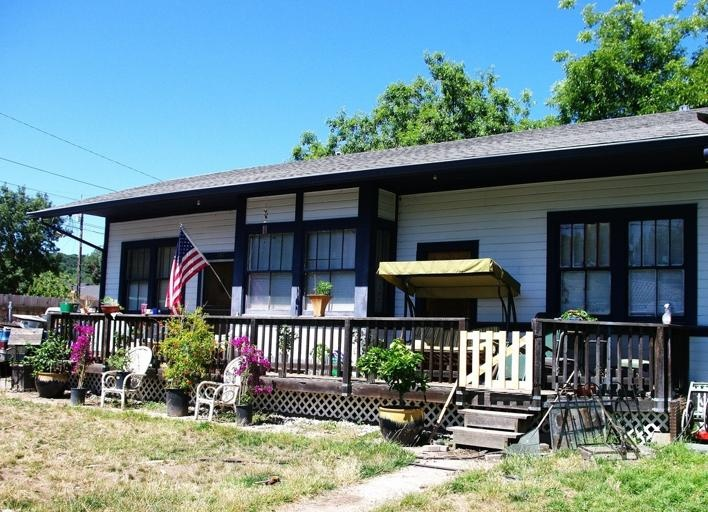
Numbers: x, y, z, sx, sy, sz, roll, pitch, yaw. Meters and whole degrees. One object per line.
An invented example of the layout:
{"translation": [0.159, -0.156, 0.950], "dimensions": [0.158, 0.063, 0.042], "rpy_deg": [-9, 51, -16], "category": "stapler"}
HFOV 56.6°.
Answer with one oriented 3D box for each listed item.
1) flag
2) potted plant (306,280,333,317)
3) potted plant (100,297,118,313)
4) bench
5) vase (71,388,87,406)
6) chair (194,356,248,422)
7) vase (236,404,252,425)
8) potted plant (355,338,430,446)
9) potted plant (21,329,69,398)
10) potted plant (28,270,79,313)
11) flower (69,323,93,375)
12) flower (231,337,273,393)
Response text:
{"translation": [-4.212, 0.346, 16.004], "dimensions": [0.730, 1.590, 1.202], "rpy_deg": [0, 0, 21], "category": "flag"}
{"translation": [-0.745, 0.971, 14.599], "dimensions": [0.682, 1.047, 0.659], "rpy_deg": [1, -12, 2], "category": "potted plant"}
{"translation": [-5.974, 1.210, 16.142], "dimensions": [0.410, 0.293, 0.422], "rpy_deg": [1, -14, 3], "category": "potted plant"}
{"translation": [1.642, 1.789, 13.198], "dimensions": [1.281, 0.817, 1.329], "rpy_deg": [-3, 0, 11], "category": "bench"}
{"translation": [-6.280, 3.179, 14.955], "dimensions": [0.340, 0.373, 0.340], "rpy_deg": [3, 1, -37], "category": "vase"}
{"translation": [-2.929, 2.791, 13.944], "dimensions": [0.700, 1.260, 0.811], "rpy_deg": [-3, 24, -16], "category": "chair"}
{"translation": [-2.161, 3.120, 12.878], "dimensions": [0.340, 0.345, 0.349], "rpy_deg": [0, -10, -7], "category": "vase"}
{"translation": [0.699, 2.388, 11.603], "dimensions": [1.108, 1.621, 0.711], "rpy_deg": [0, 0, -1], "category": "potted plant"}
{"translation": [-7.390, 2.812, 16.110], "dimensions": [0.880, 1.314, 1.030], "rpy_deg": [0, -2, -6], "category": "potted plant"}
{"translation": [-17.544, 1.988, 37.840], "dimensions": [1.866, 2.092, 1.931], "rpy_deg": [-3, -6, 40], "category": "potted plant"}
{"translation": [-6.706, 2.284, 16.148], "dimensions": [0.501, 0.824, 0.705], "rpy_deg": [0, 0, -25], "category": "flower"}
{"translation": [-2.106, 2.268, 13.526], "dimensions": [0.820, 0.935, 0.464], "rpy_deg": [0, 0, -9], "category": "flower"}
